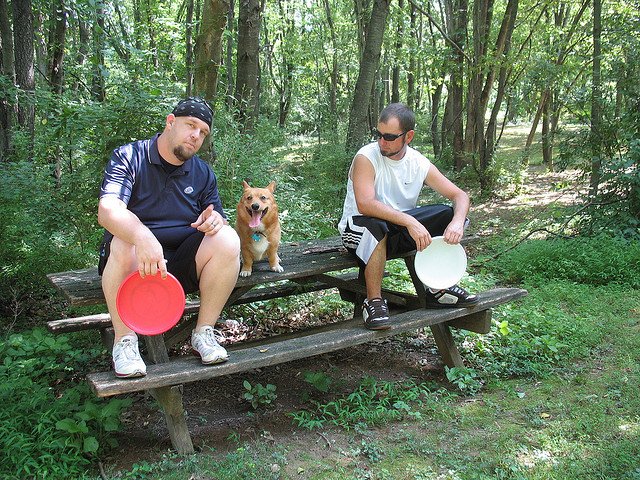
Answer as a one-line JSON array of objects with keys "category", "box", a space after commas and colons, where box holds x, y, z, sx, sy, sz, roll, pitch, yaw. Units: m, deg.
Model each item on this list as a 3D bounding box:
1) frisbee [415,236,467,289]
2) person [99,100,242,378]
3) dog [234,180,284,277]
[{"category": "frisbee", "box": [1.113, 0.209, 4.438, 0.469, 0.499, 0.180, 0, 11, -12]}, {"category": "person", "box": [-1.171, -0.023, 3.792, 1.018, 2.151, 0.861, -3, 12, -25]}, {"category": "dog", "box": [-0.597, -0.134, 4.744, 0.475, 0.876, 1.166, 0, 9, -8]}]
